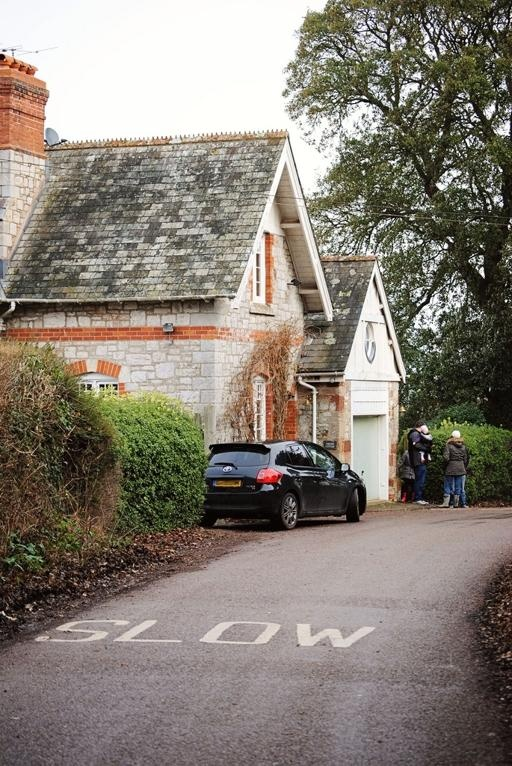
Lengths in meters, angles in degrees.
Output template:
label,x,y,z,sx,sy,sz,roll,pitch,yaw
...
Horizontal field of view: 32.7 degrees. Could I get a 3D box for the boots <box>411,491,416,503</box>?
label,x,y,z,sx,sy,sz,roll,pitch,yaw
boots,4.331,3.192,24.347,0.196,0.407,0.209,-3,-10,23

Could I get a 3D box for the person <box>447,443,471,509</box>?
label,x,y,z,sx,sy,sz,roll,pitch,yaw
person,5.057,2.232,22.418,0.543,1.922,1.520,1,-5,13

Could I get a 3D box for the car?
label,x,y,z,sx,sy,sz,roll,pitch,yaw
car,0.430,1.680,15.082,1.257,1.149,2.610,-2,0,32

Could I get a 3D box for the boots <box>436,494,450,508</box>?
label,x,y,z,sx,sy,sz,roll,pitch,yaw
boots,4.833,3.086,22.885,0.270,0.532,0.465,-4,-15,27

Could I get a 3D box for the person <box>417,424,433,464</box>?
label,x,y,z,sx,sy,sz,roll,pitch,yaw
person,4.451,1.616,23.156,0.266,0.917,0.818,2,-8,9
